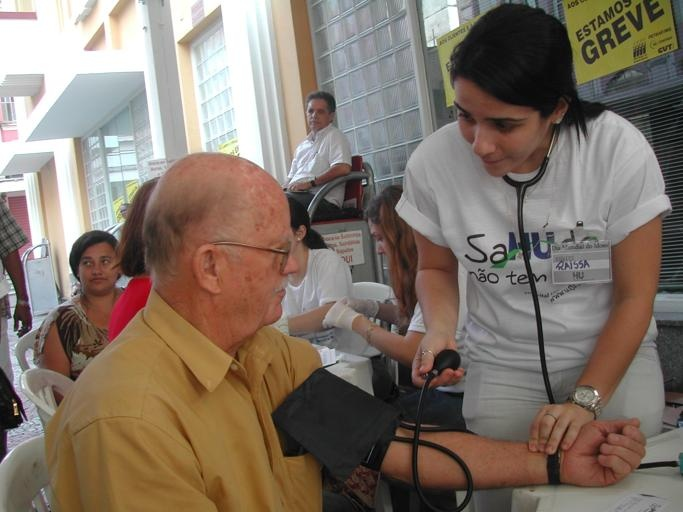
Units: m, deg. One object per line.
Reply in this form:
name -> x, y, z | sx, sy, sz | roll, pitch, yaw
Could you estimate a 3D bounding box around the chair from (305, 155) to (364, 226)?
chair -> -0.014, -0.635, 4.883 | 0.452, 0.601, 0.424 | -3, 10, -16
